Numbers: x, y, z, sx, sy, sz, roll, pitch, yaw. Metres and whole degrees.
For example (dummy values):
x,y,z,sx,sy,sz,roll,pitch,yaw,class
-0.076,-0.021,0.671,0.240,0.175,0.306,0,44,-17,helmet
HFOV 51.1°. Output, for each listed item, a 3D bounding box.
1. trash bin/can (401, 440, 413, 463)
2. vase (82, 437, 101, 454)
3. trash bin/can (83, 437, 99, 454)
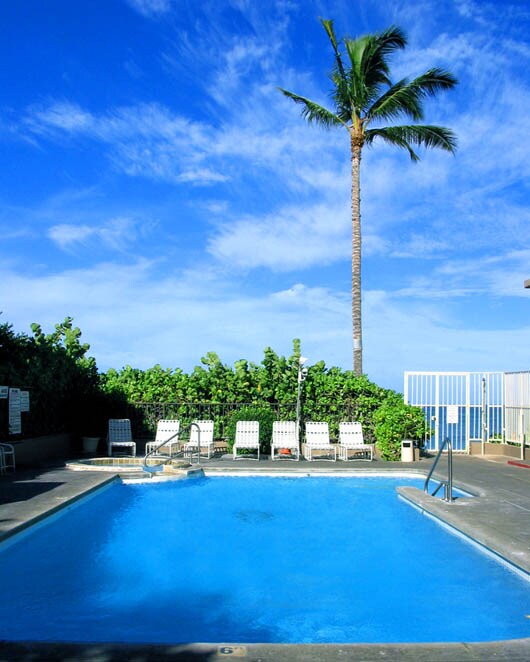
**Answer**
x,y,z,sx,sy,sz,roll,pitch,yaw,class
3.805,3.211,14.822,0.325,0.549,0.222,-1,-4,16,trash bin/can
-5.119,3.362,16.247,0.476,0.349,0.438,-3,-8,13,vase
-5.122,3.350,16.237,0.478,0.345,0.431,1,-5,-11,trash bin/can
